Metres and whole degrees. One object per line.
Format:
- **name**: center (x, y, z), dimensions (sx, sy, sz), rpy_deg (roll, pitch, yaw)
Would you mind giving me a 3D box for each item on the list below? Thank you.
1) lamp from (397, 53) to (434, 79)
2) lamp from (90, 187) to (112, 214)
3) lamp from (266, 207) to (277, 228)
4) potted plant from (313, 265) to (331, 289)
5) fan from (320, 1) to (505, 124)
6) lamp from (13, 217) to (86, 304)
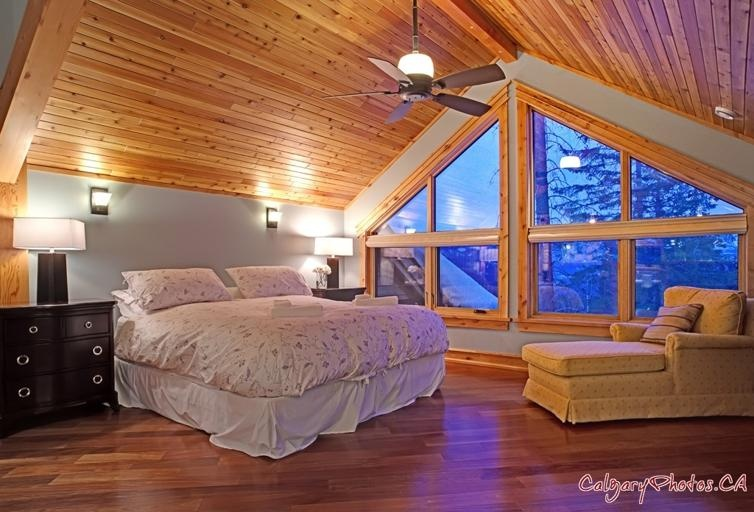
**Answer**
- **lamp**: center (0.338, -1.689, 4.331), dimensions (0.278, 0.239, 0.236), rpy_deg (-1, 12, -2)
- **lamp**: center (-3.054, -0.608, 5.496), dimensions (0.229, 0.321, 0.141), rpy_deg (-8, 15, -32)
- **lamp**: center (-1.477, -0.545, 6.993), dimensions (0.207, 0.308, 0.066), rpy_deg (-10, 16, -37)
- **potted plant**: center (-0.778, 0.304, 7.303), dimensions (0.362, 0.322, 0.321), rpy_deg (-1, -5, 13)
- **fan**: center (0.564, -1.913, 4.546), dimensions (1.041, 1.242, 1.424), rpy_deg (1, 11, 8)
- **lamp**: center (-3.216, 0.029, 4.849), dimensions (0.589, 0.811, 0.539), rpy_deg (0, 12, -1)
